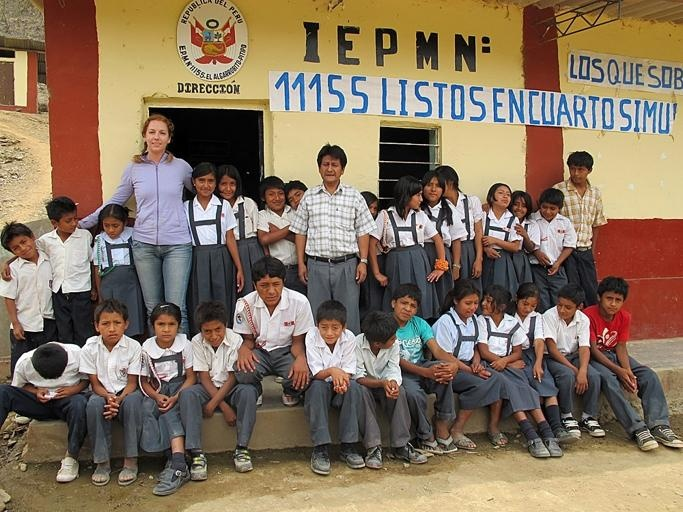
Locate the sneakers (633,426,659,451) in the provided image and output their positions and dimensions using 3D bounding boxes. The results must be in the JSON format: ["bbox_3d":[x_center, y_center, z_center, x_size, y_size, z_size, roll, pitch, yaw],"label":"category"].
[{"bbox_3d":[2.389,1.447,5.328,0.086,0.104,0.258,-25,-3,-5],"label":"sneakers"}]

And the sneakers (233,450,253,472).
[{"bbox_3d":[-0.718,1.489,4.939,0.137,0.138,0.111,0,5,-9],"label":"sneakers"}]

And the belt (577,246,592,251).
[{"bbox_3d":[2.393,-0.071,6.700,0.177,0.040,0.049,-3,7,-34],"label":"belt"}]

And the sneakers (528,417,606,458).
[{"bbox_3d":[1.681,1.410,5.314,0.510,0.239,0.267,-3,7,-38],"label":"sneakers"}]

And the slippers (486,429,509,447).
[{"bbox_3d":[1.243,1.449,5.375,0.167,0.085,0.173,2,6,7],"label":"slippers"}]
